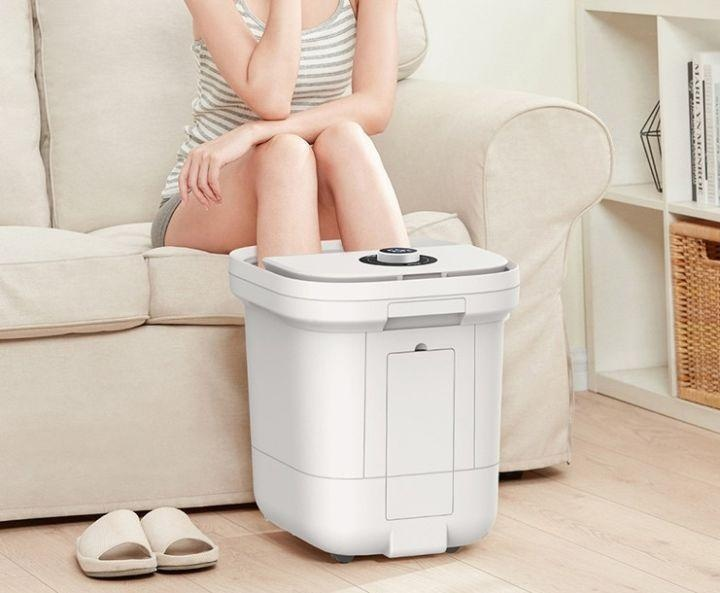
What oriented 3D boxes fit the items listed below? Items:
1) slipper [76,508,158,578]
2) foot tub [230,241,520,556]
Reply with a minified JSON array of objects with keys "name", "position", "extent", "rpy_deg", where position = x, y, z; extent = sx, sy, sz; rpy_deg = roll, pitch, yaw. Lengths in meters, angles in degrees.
[{"name":"slipper","position":[-0.386,0.387,1.203],"extent":[0.109,0.073,0.139],"rpy_deg":[-5,10,-24]},{"name":"foot tub","position":[0.013,0.162,1.227],"extent":[0.434,0.487,0.249],"rpy_deg":[-1,11,-6]}]
